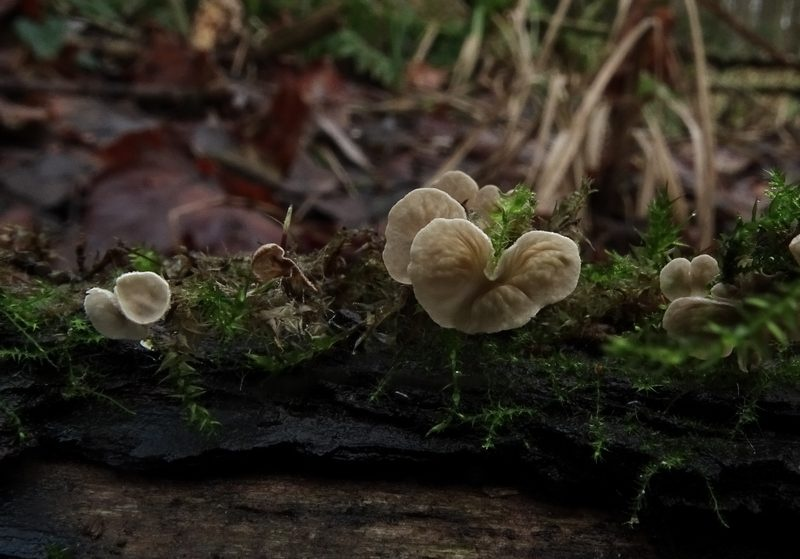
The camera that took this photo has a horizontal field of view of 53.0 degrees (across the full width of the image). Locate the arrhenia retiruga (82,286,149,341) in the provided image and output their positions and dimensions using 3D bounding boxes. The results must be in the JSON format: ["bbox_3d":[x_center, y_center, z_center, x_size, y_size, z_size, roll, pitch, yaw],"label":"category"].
[{"bbox_3d":[-1.362,0.173,3.713,0.241,0.248,0.083,-34,21,-13],"label":"arrhenia retiruga"}]

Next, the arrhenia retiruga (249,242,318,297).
[{"bbox_3d":[-0.573,-0.032,3.883,0.335,0.135,0.240,29,17,-3],"label":"arrhenia retiruga"}]
